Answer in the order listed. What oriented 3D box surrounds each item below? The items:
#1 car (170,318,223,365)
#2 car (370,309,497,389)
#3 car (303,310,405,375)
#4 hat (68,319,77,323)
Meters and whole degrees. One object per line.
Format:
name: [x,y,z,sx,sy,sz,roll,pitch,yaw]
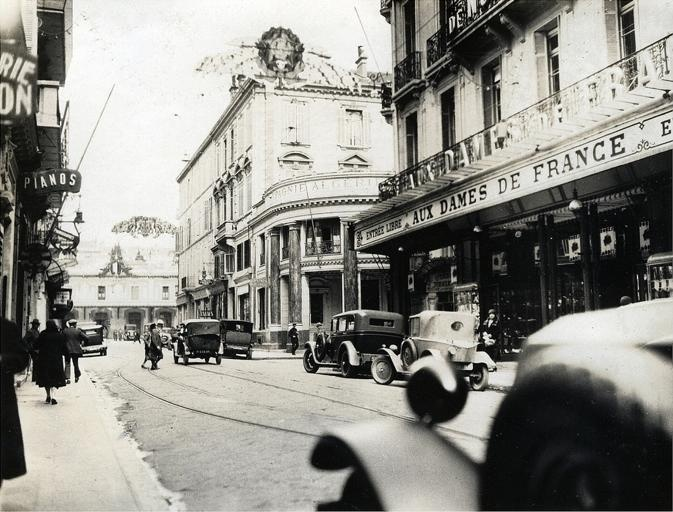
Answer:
car: [-4.652,2.804,27.987,1.052,1.174,2.041,2,-4,-20]
car: [1.869,1.722,16.370,1.619,1.482,2.835,6,-10,-39]
car: [0.391,2.148,20.996,1.284,1.317,2.455,5,-6,-23]
hat: [-5.891,1.461,18.933,0.118,0.088,0.126,3,-4,-22]
